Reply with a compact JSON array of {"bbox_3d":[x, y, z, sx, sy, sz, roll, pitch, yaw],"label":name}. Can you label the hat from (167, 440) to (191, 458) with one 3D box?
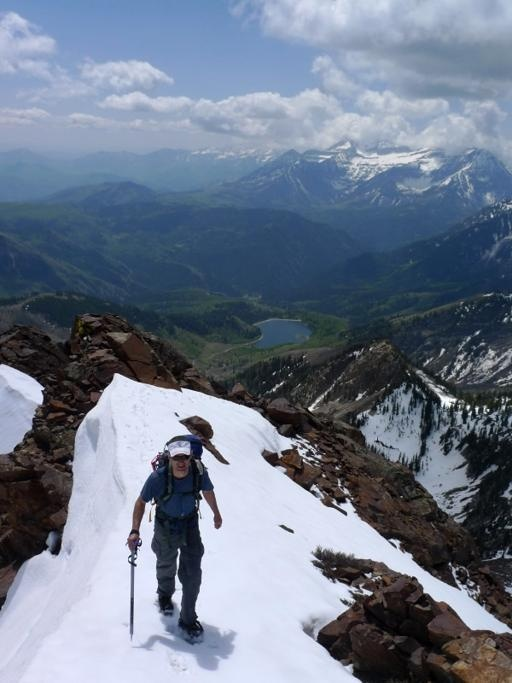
[{"bbox_3d":[-1.609,2.297,12.889,0.490,0.311,0.410,5,16,-9],"label":"hat"}]
